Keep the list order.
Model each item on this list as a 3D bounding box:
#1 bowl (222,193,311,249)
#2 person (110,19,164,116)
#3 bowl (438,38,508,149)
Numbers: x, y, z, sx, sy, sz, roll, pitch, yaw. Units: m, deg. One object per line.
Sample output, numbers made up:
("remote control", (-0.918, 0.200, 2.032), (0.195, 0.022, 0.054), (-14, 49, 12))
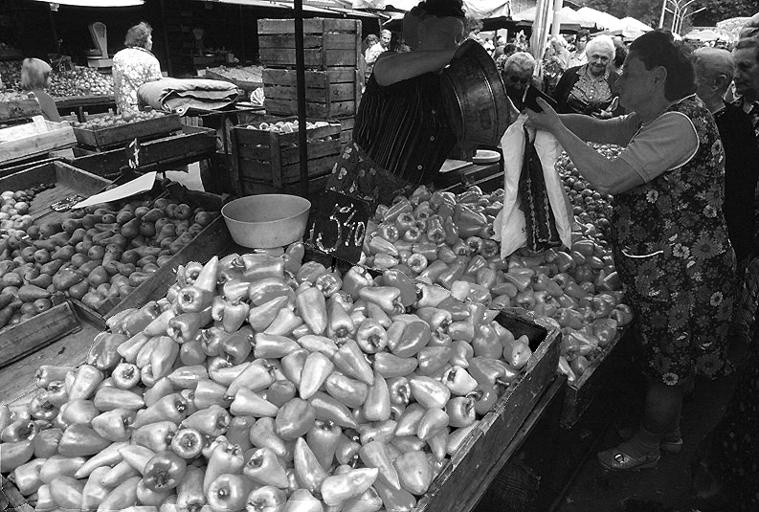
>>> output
("bowl", (-0.848, -0.269, 3.889), (0.510, 0.195, 0.525), (-1, 21, 0))
("person", (-3.853, -2.891, 8.163), (0.760, 1.287, 1.107), (-13, 33, -21))
("bowl", (0.619, -1.001, 3.388), (0.480, 0.743, 0.302), (9, 31, 16))
